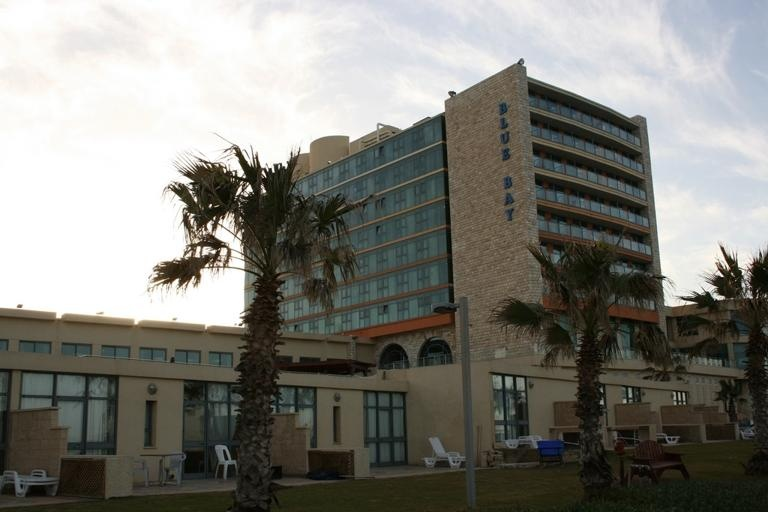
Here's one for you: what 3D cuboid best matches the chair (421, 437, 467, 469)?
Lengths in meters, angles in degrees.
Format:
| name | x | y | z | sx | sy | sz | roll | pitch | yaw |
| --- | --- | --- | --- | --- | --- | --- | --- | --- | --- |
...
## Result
| name | x | y | z | sx | sy | sz | roll | pitch | yaw |
| --- | --- | --- | --- | --- | --- | --- | --- | --- | --- |
| chair | 3.149 | 9.804 | 33.772 | 2.115 | 1.311 | 1.270 | -5 | -13 | 27 |

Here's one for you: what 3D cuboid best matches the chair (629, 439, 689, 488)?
| name | x | y | z | sx | sy | sz | roll | pitch | yaw |
| --- | --- | --- | --- | --- | --- | --- | --- | --- | --- |
| chair | 8.656 | 6.491 | 21.395 | 1.566 | 1.097 | 1.209 | 2 | -8 | -26 |

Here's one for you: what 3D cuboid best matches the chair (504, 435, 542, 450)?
| name | x | y | z | sx | sy | sz | roll | pitch | yaw |
| --- | --- | --- | --- | --- | --- | --- | --- | --- | --- |
| chair | 6.908 | 9.304 | 34.074 | 1.738 | 0.767 | 3.379 | -5 | -20 | 8 |

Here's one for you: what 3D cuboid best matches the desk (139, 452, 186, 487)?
| name | x | y | z | sx | sy | sz | roll | pitch | yaw |
| --- | --- | --- | --- | --- | --- | --- | --- | --- | --- |
| desk | -9.004 | 8.291 | 26.622 | 1.169 | 0.741 | 1.160 | -5 | -13 | 30 |
